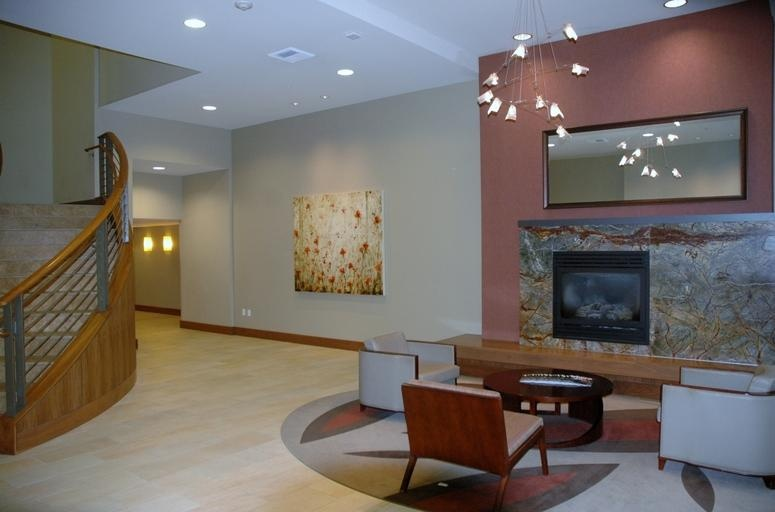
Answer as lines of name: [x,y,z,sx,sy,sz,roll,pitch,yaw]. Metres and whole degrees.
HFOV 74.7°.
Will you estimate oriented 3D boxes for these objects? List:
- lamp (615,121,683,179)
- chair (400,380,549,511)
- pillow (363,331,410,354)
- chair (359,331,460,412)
lamp: [3.682,-1.436,7.103,0.726,0.723,0.529,10,0,45]
chair: [0.923,1.530,4.923,1.064,1.026,1.214,3,8,35]
pillow: [-0.035,1.038,6.520,0.303,0.282,0.433,-6,-4,44]
chair: [0.277,1.410,6.527,1.039,0.899,1.162,-1,0,34]
